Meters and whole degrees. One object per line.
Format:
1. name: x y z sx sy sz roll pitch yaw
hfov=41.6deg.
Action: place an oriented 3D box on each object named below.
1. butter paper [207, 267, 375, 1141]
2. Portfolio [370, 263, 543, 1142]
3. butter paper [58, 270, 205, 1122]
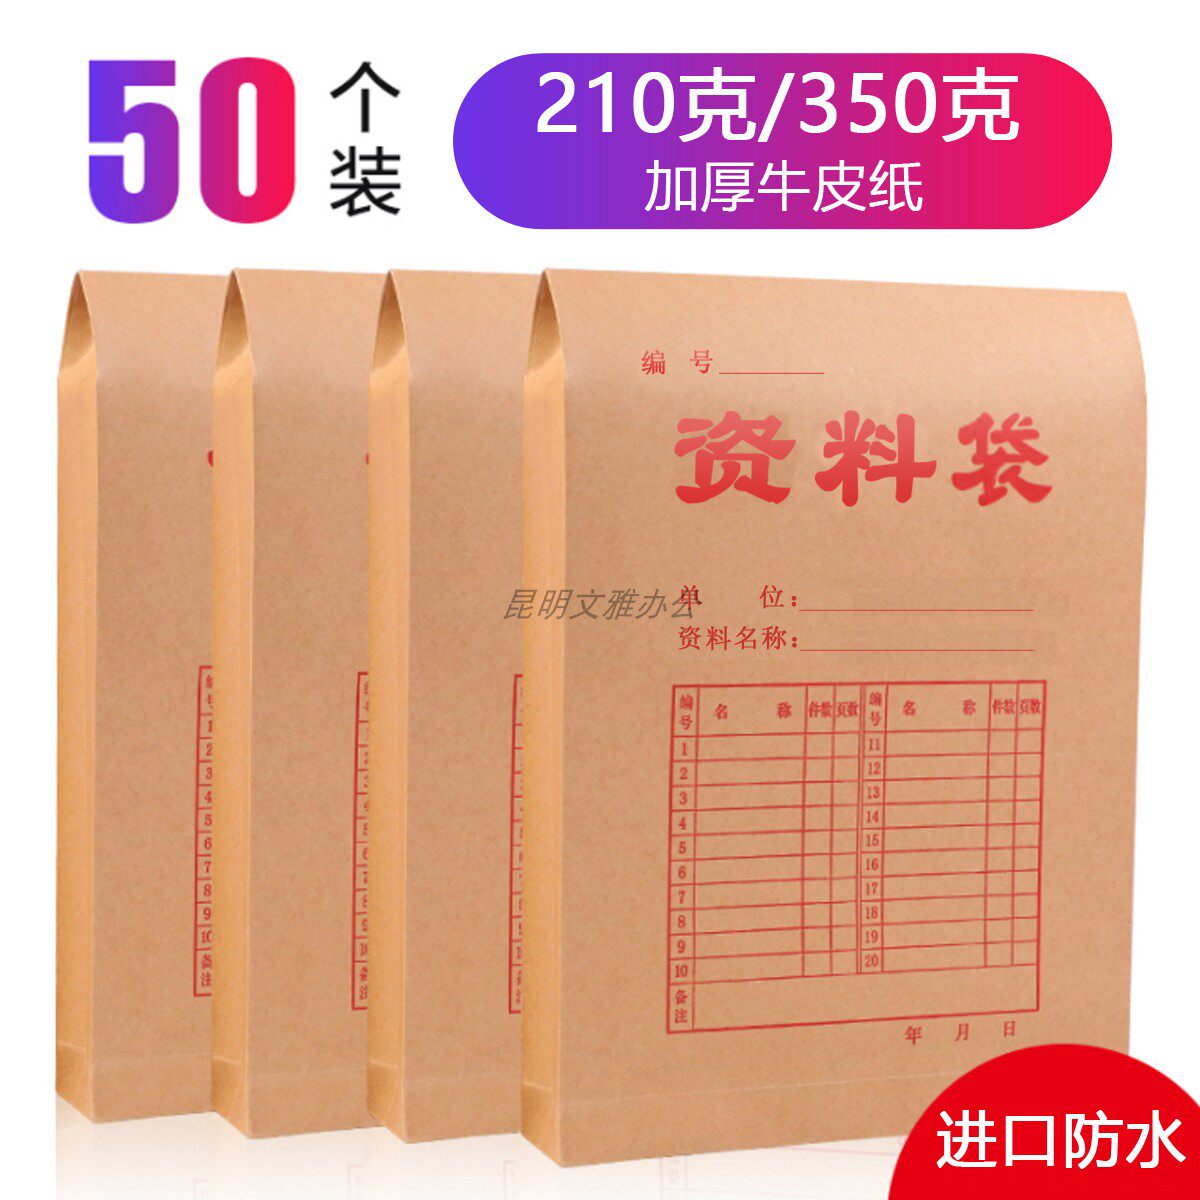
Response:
1. butter paper: -0.325 0.096 1.671 0.181 0.910 0.219 2 -12 -9
2. Portfolio: -0.156 0.094 1.612 0.168 0.884 0.204 2 -12 -9
3. butter paper: -0.511 0.094 1.735 0.196 0.924 0.213 2 -12 -11
